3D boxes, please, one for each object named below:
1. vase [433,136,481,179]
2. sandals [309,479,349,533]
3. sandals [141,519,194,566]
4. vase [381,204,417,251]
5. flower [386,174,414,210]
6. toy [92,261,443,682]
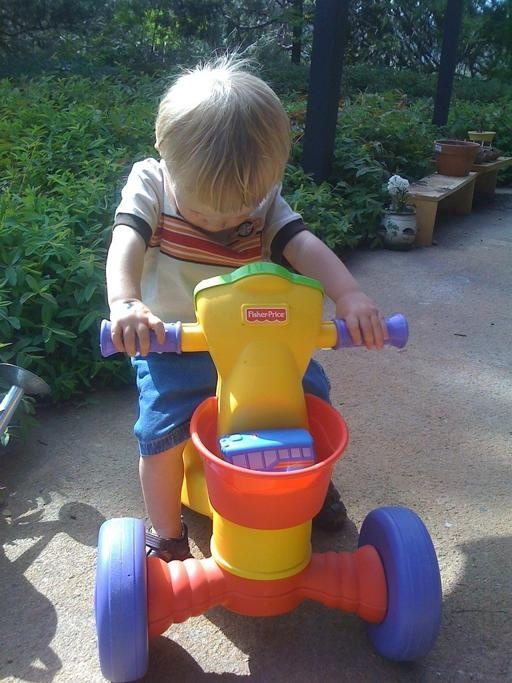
[{"bbox_3d":[1.755,-1.614,5.242,0.407,0.235,0.371,1,12,-1],"label":"vase"},{"bbox_3d":[0.191,0.429,1.549,0.090,0.101,0.111,-2,12,-1],"label":"sandals"},{"bbox_3d":[-0.180,0.437,1.322,0.118,0.076,0.080,1,14,5],"label":"sandals"},{"bbox_3d":[0.988,-0.761,4.085,0.292,0.216,0.266,-1,19,-6],"label":"vase"},{"bbox_3d":[1.004,-1.018,4.123,0.155,0.235,0.277,7,20,14],"label":"flower"},{"bbox_3d":[0.028,0.169,1.299,0.708,0.780,0.784,0,16,-4],"label":"toy"}]
